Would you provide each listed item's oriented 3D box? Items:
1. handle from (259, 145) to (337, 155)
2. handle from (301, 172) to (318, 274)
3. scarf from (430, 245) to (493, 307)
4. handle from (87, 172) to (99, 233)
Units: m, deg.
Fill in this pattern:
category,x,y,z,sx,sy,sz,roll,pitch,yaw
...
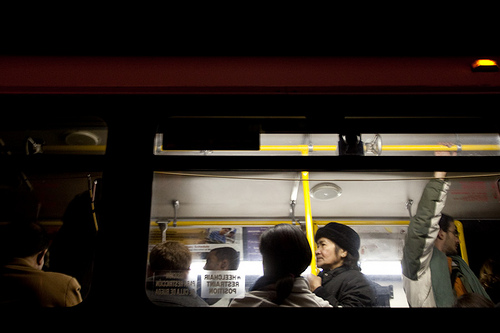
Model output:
category,x,y,z,sx,sy,sz,roll,pitch,yaw
handle,0.338,-0.121,2.817,0.529,0.072,0.022,1,-8,2
handle,0.399,0.367,2.714,0.124,0.670,0.033,1,-8,7
scarf,1.355,0.700,2.636,0.225,0.336,0.274,3,0,3
handle,-1.052,0.241,2.729,0.078,0.373,0.033,-4,-9,1
